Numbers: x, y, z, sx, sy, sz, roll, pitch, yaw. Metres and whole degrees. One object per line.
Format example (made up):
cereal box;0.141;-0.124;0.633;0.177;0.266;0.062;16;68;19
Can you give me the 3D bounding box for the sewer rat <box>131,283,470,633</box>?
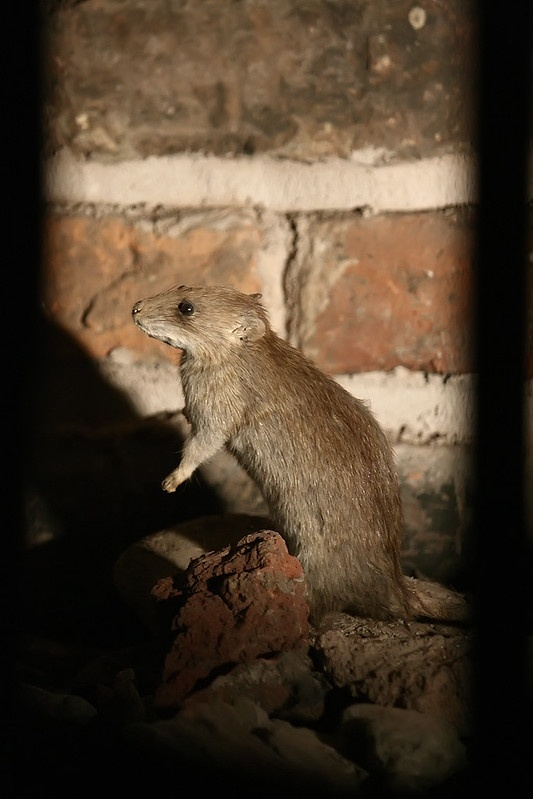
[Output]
sewer rat;0.037;0.088;1.905;0.587;0.631;0.239;3;8;28
